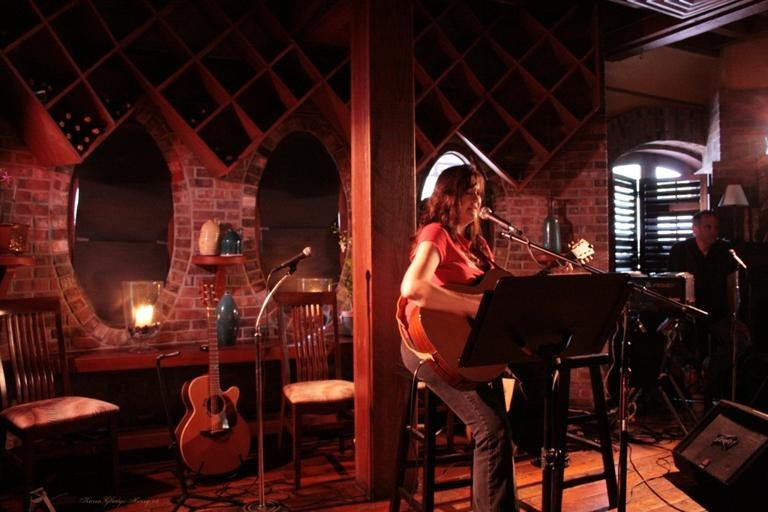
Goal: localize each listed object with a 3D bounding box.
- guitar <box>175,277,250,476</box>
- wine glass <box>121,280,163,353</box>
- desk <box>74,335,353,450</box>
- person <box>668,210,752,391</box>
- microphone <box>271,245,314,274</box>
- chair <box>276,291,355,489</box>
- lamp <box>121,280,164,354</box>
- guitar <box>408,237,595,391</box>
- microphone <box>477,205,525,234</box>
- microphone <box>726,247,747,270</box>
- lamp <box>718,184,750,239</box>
[{"bbox_3d":[-1.415,1.091,4.976,0.570,1.312,0.231,0,-1,-21],"label":"guitar"},{"bbox_3d":[-2.169,0.532,5.417,0.389,0.623,0.354,-2,2,-10],"label":"wine glass"},{"bbox_3d":[-1.895,1.204,5.480,2.264,0.716,0.581,-6,-1,15],"label":"desk"},{"bbox_3d":[3.275,0.466,6.101,0.648,1.852,0.786,-1,-1,15],"label":"person"},{"bbox_3d":[-0.873,0.032,5.601,0.350,0.135,0.089,-28,-37,0],"label":"microphone"},{"bbox_3d":[-0.624,1.074,5.350,0.636,1.509,1.186,-1,-1,-9],"label":"chair"},{"bbox_3d":[-2.177,0.533,5.395,0.323,0.590,0.287,-1,-1,-38],"label":"lamp"},{"bbox_3d":[0.709,0.339,3.975,1.086,0.969,0.639,0,-1,-31],"label":"guitar"},{"bbox_3d":[1.088,-0.328,5.522,0.493,0.141,0.134,31,37,5],"label":"microphone"},{"bbox_3d":[3.350,0.032,5.743,0.033,0.159,0.164,-36,-13,21],"label":"microphone"},{"bbox_3d":[3.834,-0.511,6.843,0.351,0.647,0.347,10,11,28],"label":"lamp"}]
